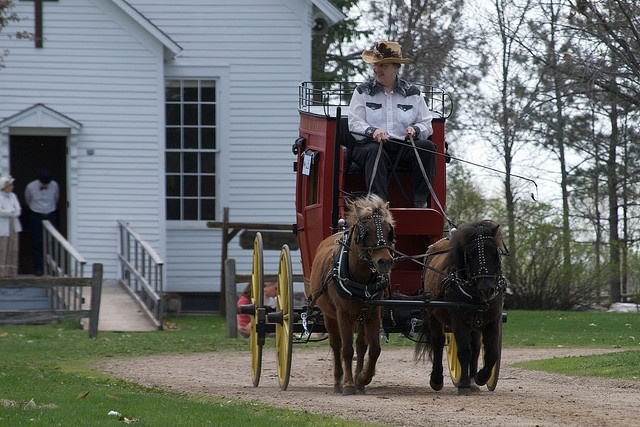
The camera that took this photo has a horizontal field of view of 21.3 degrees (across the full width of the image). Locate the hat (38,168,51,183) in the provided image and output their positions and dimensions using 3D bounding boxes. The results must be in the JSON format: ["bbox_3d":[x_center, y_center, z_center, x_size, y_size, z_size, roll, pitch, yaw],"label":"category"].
[{"bbox_3d":[-8.029,-1.064,49.413,0.318,0.441,0.342,3,-4,-12],"label":"hat"}]

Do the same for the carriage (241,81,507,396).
[{"bbox_3d":[1.662,-0.017,43.920,6.103,6.736,7.853,1,-5,-8],"label":"carriage"}]

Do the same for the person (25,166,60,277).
[{"bbox_3d":[-8.061,0.254,49.676,1.119,2.939,1.127,-7,-6,43],"label":"person"}]
